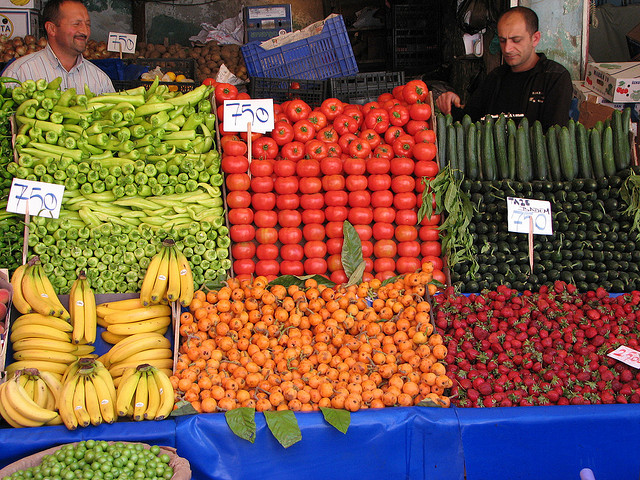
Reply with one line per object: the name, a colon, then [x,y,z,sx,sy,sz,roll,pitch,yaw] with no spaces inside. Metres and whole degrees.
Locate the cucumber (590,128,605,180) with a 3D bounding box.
cucumber: [2.409,-0.760,4.711,0.087,0.433,0.108,-5,-9,10]

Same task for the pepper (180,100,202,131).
pepper: [-1.069,-1.001,4.505,0.075,0.321,0.094,23,-2,-10]

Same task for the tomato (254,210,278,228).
tomato: [-0.454,-0.179,4.488,0.175,0.166,0.137,-1,9,0]

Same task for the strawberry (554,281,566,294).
strawberry: [1.939,0.378,4.337,0.067,0.073,0.095,-9,12,-8]

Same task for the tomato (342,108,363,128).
tomato: [0.317,-1.143,4.890,0.155,0.157,0.156,29,7,-18]

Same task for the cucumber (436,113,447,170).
cucumber: [1.090,-0.876,4.787,0.077,0.493,0.078,3,-2,-18]

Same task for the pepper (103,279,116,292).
pepper: [-1.632,0.347,4.166,0.083,0.090,0.032,3,-5,-14]

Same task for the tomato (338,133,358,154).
tomato: [0.251,-0.864,4.767,0.154,0.168,0.160,2,-3,-6]

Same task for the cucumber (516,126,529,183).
cucumber: [1.759,-0.757,4.716,0.085,0.483,0.116,-2,-3,1]

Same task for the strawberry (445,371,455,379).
strawberry: [0.916,0.941,3.760,0.043,0.047,0.045,-2,5,2]

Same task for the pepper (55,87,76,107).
pepper: [-2.075,-1.172,4.399,0.092,0.189,0.060,44,-26,-26]

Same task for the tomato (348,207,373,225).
tomato: [0.348,-0.201,4.507,0.189,0.126,0.133,3,-2,-21]

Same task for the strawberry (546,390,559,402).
strawberry: [1.583,1.052,3.637,0.070,0.059,0.057,8,3,22]

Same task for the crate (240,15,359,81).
crate: [-0.132,-2.062,5.977,1.593,0.846,0.674,-9,20,-9]

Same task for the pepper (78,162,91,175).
pepper: [-1.865,-0.575,4.279,0.083,0.084,0.088,1,20,6]

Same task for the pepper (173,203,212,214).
pepper: [-1.049,-0.265,4.325,0.258,0.094,0.091,2,-10,-18]

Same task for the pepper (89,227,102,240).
pepper: [-1.759,-0.053,4.212,0.074,0.076,0.078,2,9,8]

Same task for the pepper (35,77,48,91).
pepper: [-2.286,-1.278,4.408,0.086,0.092,0.110,-8,16,-24]

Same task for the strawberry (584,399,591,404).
strawberry: [1.813,1.094,3.631,0.036,0.021,0.059,10,19,39]

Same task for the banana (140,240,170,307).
banana: [-1.231,0.236,4.020,0.163,0.492,0.111,31,-12,-21]

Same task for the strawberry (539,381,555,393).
strawberry: [1.553,1.010,3.685,0.081,0.045,0.072,5,16,24]

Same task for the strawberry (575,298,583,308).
strawberry: [2.057,0.495,4.259,0.060,0.077,0.063,-6,-2,1]

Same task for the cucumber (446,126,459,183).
cucumber: [1.159,-0.756,4.724,0.085,0.480,0.078,-2,-16,0]

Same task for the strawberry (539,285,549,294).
strawberry: [1.810,0.397,4.321,0.072,0.051,0.087,3,15,20]

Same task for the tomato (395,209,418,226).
tomato: [0.740,-0.189,4.569,0.163,0.164,0.129,1,9,4]

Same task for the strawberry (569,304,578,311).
strawberry: [1.983,0.525,4.181,0.041,0.046,0.052,5,-16,36]

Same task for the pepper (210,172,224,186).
pepper: [-0.859,-0.504,4.470,0.089,0.094,0.130,-37,10,-6]

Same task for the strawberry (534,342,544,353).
strawberry: [1.595,0.774,3.907,0.067,0.055,0.052,31,12,24]

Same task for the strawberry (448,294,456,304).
strawberry: [1.041,0.461,4.215,0.045,0.058,0.051,0,-14,7]

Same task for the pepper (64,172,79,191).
pepper: [-1.964,-0.460,4.215,0.100,0.136,0.059,1,4,-12]

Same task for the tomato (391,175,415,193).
tomato: [0.714,-0.480,4.547,0.170,0.151,0.097,1,-1,0]

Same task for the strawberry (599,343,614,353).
strawberry: [2.094,0.780,3.910,0.057,0.035,0.049,2,12,39]

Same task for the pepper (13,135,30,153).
pepper: [-2.387,-0.768,4.299,0.071,0.084,0.129,23,48,0]

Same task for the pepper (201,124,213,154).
pepper: [-0.962,-0.860,4.580,0.071,0.264,0.076,-6,-12,-1]

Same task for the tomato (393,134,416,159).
tomato: [0.741,-0.825,4.770,0.181,0.188,0.189,-27,-1,8]

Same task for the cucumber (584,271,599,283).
cucumber: [2.264,0.309,4.476,0.110,0.062,0.066,13,45,-10]

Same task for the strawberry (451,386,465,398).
strawberry: [0.957,1.050,3.713,0.088,0.059,0.064,2,15,14]

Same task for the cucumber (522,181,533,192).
cucumber: [1.770,-0.457,4.573,0.058,0.065,0.081,-4,2,-5]

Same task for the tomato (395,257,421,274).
tomato: [0.741,0.205,4.499,0.172,0.117,0.130,-1,12,15]

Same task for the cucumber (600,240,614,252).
cucumber: [2.446,0.048,4.541,0.079,0.049,0.084,0,-10,26]

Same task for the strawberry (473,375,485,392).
strawberry: [1.090,0.990,3.673,0.073,0.099,0.080,2,-5,-13]

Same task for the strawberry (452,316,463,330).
strawberry: [1.039,0.632,4.046,0.047,0.052,0.067,-3,13,-3]

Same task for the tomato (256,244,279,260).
tomato: [-0.436,0.096,4.458,0.158,0.151,0.122,0,11,1]

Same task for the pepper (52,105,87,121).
pepper: [-2.031,-1.028,4.342,0.220,0.063,0.058,22,8,4]

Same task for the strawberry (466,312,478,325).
strawberry: [1.156,0.597,4.075,0.078,0.063,0.078,3,15,18]

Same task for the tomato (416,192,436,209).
tomato: [0.922,-0.345,4.620,0.128,0.172,0.137,1,6,11]

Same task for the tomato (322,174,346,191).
tomato: [0.118,-0.491,4.600,0.145,0.122,0.141,0,5,5]

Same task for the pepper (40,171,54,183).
pepper: [-2.145,-0.496,4.214,0.068,0.068,0.070,-3,12,-3]

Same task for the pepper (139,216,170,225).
pepper: [-1.323,-0.161,4.300,0.233,0.071,0.072,4,25,-11]

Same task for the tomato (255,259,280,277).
tomato: [-0.434,0.226,4.432,0.180,0.164,0.116,-6,19,-28]

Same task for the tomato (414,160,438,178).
tomato: [0.914,-0.615,4.614,0.166,0.138,0.095,2,-31,2]

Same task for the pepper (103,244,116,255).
pepper: [-1.642,0.071,4.194,0.072,0.077,0.076,-1,4,2]

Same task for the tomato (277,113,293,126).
tomato: [-0.308,-1.085,4.771,0.102,0.110,0.109,9,50,11]

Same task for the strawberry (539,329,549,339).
strawberry: [1.656,0.693,3.952,0.066,0.046,0.062,2,15,16]

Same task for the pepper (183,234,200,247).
pepper: [-1.029,0.005,4.365,0.097,0.101,0.131,34,-14,-15]

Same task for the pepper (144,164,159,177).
pepper: [-1.349,-0.556,4.302,0.088,0.095,0.083,4,-15,-2]

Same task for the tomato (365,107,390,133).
tomato: [0.527,-1.072,4.909,0.194,0.209,0.201,7,-18,3]

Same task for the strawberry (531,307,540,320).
strawberry: [1.662,0.549,4.115,0.059,0.108,0.063,6,-3,45]
